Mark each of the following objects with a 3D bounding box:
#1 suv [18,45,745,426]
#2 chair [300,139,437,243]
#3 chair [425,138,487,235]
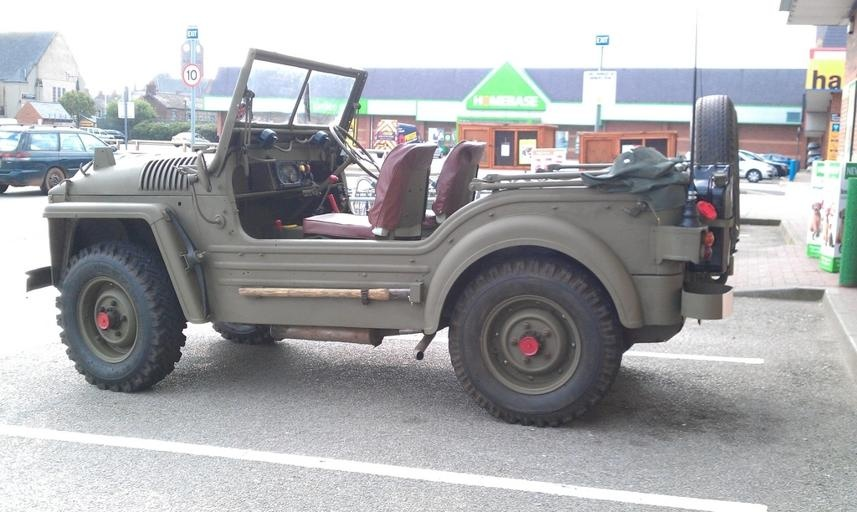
[{"bbox_3d":[-0.408,-0.140,7.649,6.720,3.079,3.743,4,7,14],"label":"suv"},{"bbox_3d":[-0.586,-0.671,7.228,1.237,0.920,1.029,3,9,21],"label":"chair"},{"bbox_3d":[0.407,-0.700,7.496,0.754,0.805,0.657,1,-14,41],"label":"chair"}]
